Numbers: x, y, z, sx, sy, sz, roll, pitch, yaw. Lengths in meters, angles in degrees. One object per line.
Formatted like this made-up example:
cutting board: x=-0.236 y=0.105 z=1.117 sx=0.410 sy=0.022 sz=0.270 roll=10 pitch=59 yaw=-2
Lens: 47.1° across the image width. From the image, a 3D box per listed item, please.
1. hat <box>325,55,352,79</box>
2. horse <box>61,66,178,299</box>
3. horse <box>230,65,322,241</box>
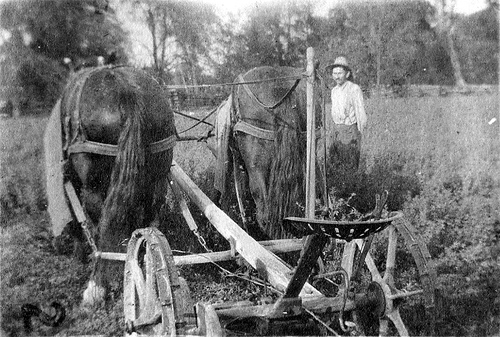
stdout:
hat: x=1.331 y=-1.549 z=8.586 sx=0.263 sy=0.182 sz=0.420 roll=0 pitch=-2 yaw=5
horse: x=-2.436 y=-0.055 z=9.550 sx=1.265 sy=3.380 sz=4.548 roll=0 pitch=5 yaw=-25
horse: x=0.153 y=-0.341 z=9.907 sx=1.065 sy=2.802 sz=3.887 roll=-1 pitch=5 yaw=-14
